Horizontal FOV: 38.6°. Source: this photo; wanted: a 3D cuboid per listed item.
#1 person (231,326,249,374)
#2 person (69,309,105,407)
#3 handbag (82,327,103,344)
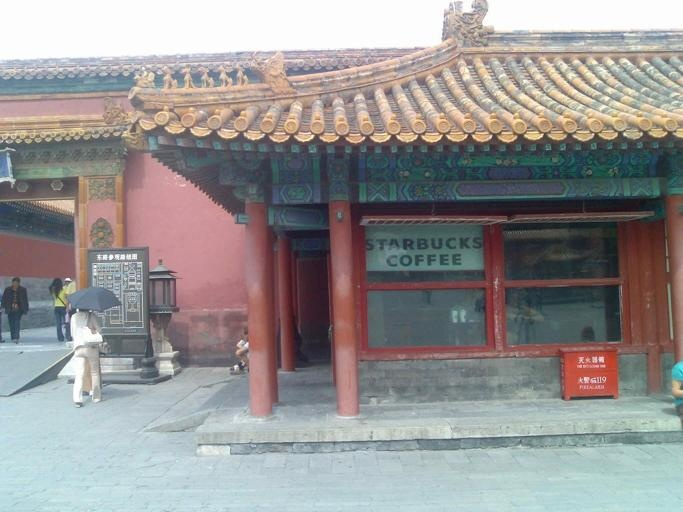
[{"bbox_3d":[-2.197,1.985,20.798,0.371,0.996,1.417,-1,-6,-7],"label":"person"},{"bbox_3d":[-4.725,1.879,18.151,0.549,1.756,0.744,0,-7,-15],"label":"person"},{"bbox_3d":[-4.583,1.464,18.046,0.229,0.322,0.256,-4,-7,22],"label":"handbag"}]
